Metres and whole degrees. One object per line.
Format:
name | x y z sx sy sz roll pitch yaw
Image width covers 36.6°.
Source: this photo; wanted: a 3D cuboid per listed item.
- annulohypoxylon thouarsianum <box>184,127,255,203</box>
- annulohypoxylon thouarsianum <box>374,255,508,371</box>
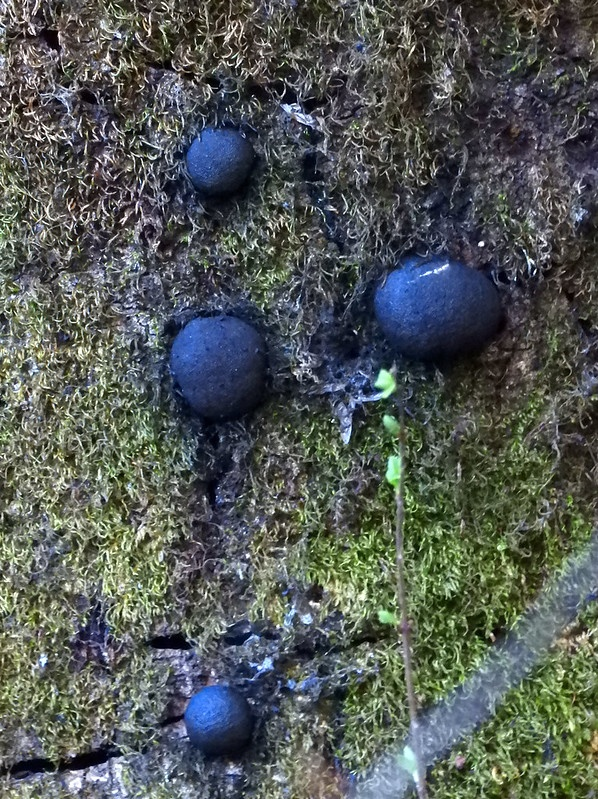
annulohypoxylon thouarsianum | -0.155 -0.448 1.742 0.134 0.095 0.121 -3 93 -6
annulohypoxylon thouarsianum | 0.283 -0.222 1.800 0.250 0.127 0.197 10 9 10
